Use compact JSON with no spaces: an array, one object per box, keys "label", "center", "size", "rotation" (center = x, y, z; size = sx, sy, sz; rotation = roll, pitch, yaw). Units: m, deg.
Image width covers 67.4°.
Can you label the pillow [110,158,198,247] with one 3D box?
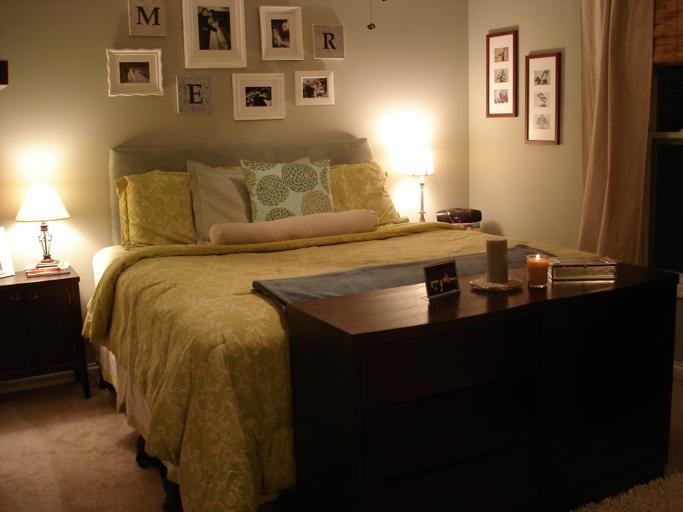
[{"label":"pillow","center":[-1.215,-0.302,3.421],"size":[0.128,0.525,0.574],"rotation":[-11,-17,33]}]

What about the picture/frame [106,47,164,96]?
[{"label":"picture/frame","center":[-1.470,-1.296,3.596],"size":[0.340,0.303,0.036],"rotation":[-5,8,-31]}]

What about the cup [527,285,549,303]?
[{"label":"cup","center":[0.668,0.130,1.751],"size":[0.060,0.045,0.059],"rotation":[-1,4,0]}]

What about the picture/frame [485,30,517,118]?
[{"label":"picture/frame","center":[1.354,-1.528,4.311],"size":[0.064,0.717,0.329],"rotation":[-10,14,-26]}]

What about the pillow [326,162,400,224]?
[{"label":"pillow","center":[0.168,-0.486,3.971],"size":[0.568,0.185,0.631],"rotation":[-6,-30,-24]}]

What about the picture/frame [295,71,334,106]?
[{"label":"picture/frame","center":[-0.234,-1.348,4.108],"size":[0.278,0.242,0.022],"rotation":[-3,5,-25]}]

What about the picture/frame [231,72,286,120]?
[{"label":"picture/frame","center":[-0.659,-1.230,3.939],"size":[0.367,0.332,0.026],"rotation":[-3,5,-24]}]

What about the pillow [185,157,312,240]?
[{"label":"pillow","center":[-0.684,-0.426,3.253],"size":[0.479,0.516,0.136],"rotation":[-3,-15,-23]}]

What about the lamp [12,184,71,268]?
[{"label":"lamp","center":[-1.922,-0.203,3.331],"size":[0.291,0.515,0.354],"rotation":[-11,14,-28]}]

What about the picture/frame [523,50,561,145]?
[{"label":"picture/frame","center":[1.570,-1.226,4.009],"size":[0.087,0.712,0.342],"rotation":[-9,14,-23]}]
